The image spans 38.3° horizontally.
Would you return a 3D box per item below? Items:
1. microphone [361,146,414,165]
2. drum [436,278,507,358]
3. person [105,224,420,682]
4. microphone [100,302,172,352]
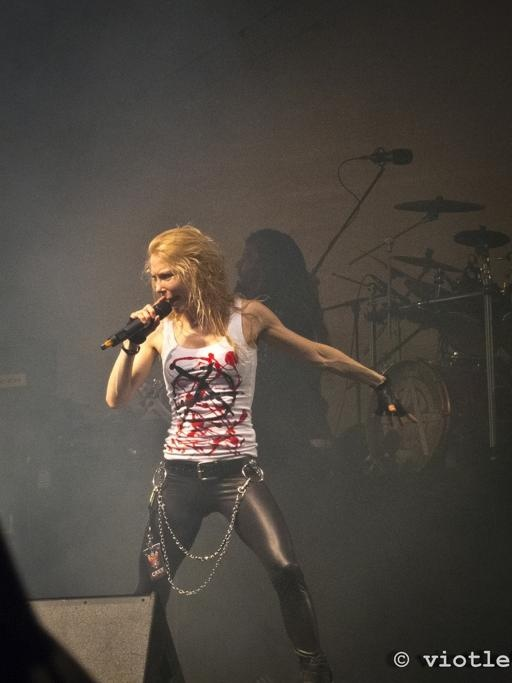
[{"bbox_3d":[0.536,-0.740,2.951,0.256,0.059,0.072,0,11,2],"label":"microphone"},{"bbox_3d":[0.882,-0.069,2.909,0.343,0.251,0.114,-13,21,-6],"label":"drum"},{"bbox_3d":[-0.153,0.363,2.800,0.958,1.510,0.946,-1,24,28],"label":"person"},{"bbox_3d":[-0.443,-0.049,2.770,0.262,0.092,0.072,-32,36,-15],"label":"microphone"}]
